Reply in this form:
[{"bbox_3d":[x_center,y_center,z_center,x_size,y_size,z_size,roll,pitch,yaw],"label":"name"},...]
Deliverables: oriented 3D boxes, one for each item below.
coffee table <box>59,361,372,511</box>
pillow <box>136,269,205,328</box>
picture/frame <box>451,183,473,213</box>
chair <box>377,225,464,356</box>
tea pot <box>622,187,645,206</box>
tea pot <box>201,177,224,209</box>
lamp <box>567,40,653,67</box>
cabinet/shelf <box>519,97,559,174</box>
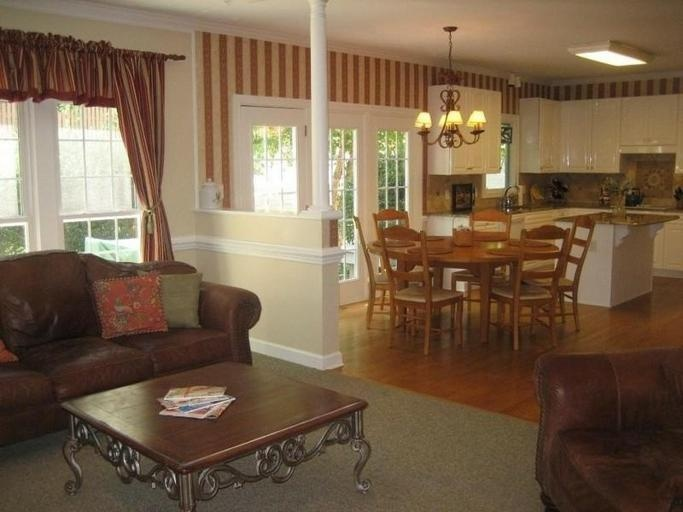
[{"bbox_3d":[-0.728,0.821,2.734,0.922,0.336,0.933,4,6,43],"label":"coffee table"},{"bbox_3d":[-1.285,0.337,4.189,0.489,0.411,0.160,0,-6,-7],"label":"pillow"},{"bbox_3d":[1.719,-0.836,8.061,0.585,0.491,0.077,-7,15,-36],"label":"picture/frame"},{"bbox_3d":[0.784,0.253,5.516,0.785,1.155,1.180,-1,10,10],"label":"chair"},{"bbox_3d":[4.692,-0.949,9.049,0.289,0.279,0.472,3,11,31],"label":"tea pot"},{"bbox_3d":[-1.238,-0.588,5.377,0.194,0.306,0.310,1,3,33],"label":"tea pot"},{"bbox_3d":[3.165,-2.374,6.597,1.121,0.140,0.448,-10,12,-39],"label":"lamp"},{"bbox_3d":[3.261,-1.949,9.101,0.772,1.164,0.289,-9,13,-27],"label":"cabinet/shelf"}]
